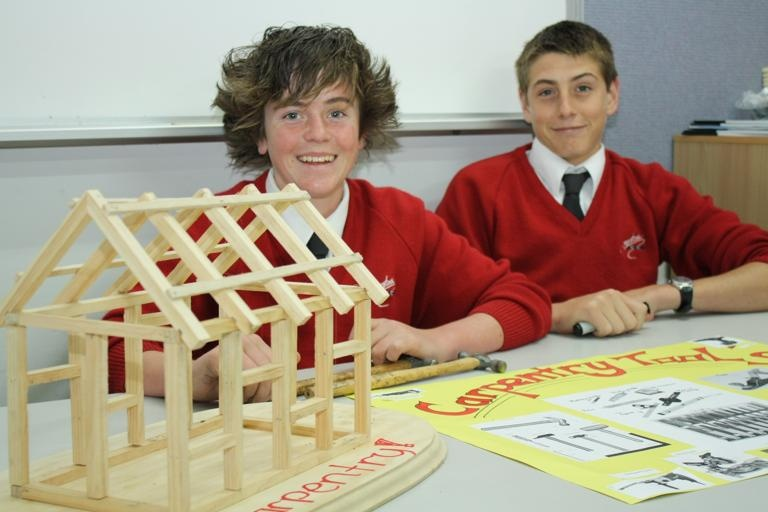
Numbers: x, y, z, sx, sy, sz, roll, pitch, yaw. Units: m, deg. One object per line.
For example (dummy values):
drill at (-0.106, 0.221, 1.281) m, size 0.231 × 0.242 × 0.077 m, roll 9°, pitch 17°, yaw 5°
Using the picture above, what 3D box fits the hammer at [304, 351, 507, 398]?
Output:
hammer at (0.014, 0.241, 1.519) m, size 0.391 × 0.032 × 0.153 m, roll -8°, pitch 1°, yaw -12°

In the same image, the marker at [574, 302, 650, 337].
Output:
marker at (0.536, 0.147, 1.746) m, size 0.188 × 0.036 × 0.041 m, roll -12°, pitch 32°, yaw -17°

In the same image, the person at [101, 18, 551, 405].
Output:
person at (-0.170, -0.135, 1.792) m, size 1.225 × 0.769 × 0.673 m, roll -2°, pitch 4°, yaw -38°

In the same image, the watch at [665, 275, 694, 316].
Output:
watch at (0.770, 0.096, 1.931) m, size 0.066 × 0.089 × 0.092 m, roll -7°, pitch 35°, yaw -2°
